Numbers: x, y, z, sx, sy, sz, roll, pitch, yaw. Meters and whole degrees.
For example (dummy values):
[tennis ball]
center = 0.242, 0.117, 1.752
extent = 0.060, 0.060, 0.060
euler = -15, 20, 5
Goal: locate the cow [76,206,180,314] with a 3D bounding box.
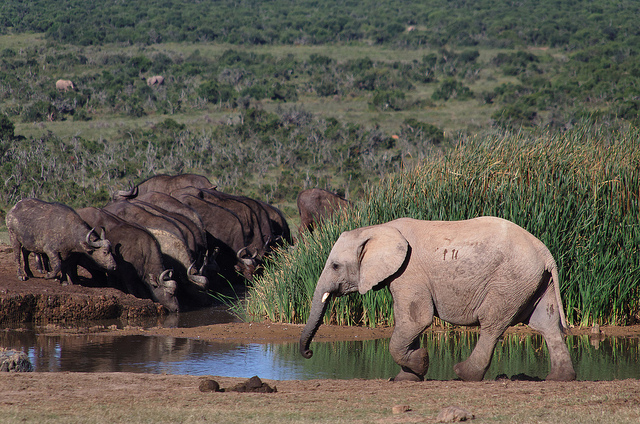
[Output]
[cow]
center = -7.993, 1.916, 57.723
extent = 4.786, 5.288, 3.578
euler = 0, 0, 12
